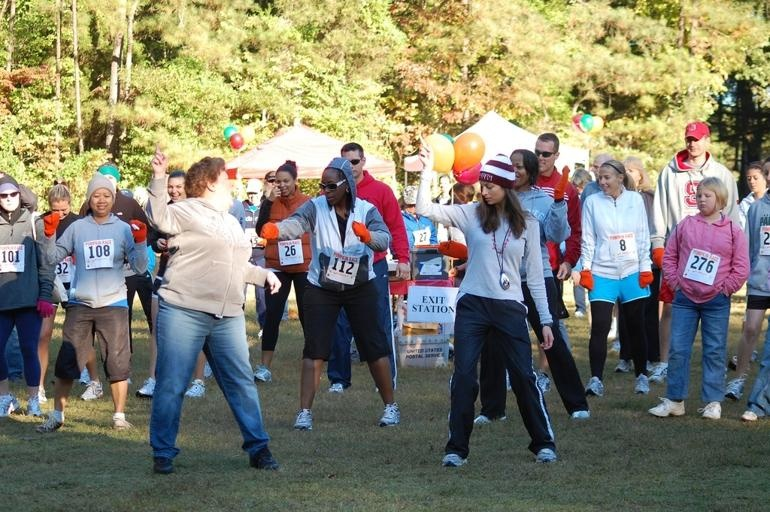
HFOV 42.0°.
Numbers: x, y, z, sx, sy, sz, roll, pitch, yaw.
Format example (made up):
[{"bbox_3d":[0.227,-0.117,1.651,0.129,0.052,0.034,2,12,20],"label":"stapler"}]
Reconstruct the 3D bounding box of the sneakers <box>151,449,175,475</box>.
[{"bbox_3d":[-2.366,2.290,11.094,0.131,0.145,0.326,2,-1,-5],"label":"sneakers"}]

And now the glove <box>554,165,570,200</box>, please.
[{"bbox_3d":[2.242,-0.896,12.342,0.134,0.140,0.475,14,-34,1],"label":"glove"}]

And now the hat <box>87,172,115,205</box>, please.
[{"bbox_3d":[-3.409,-0.848,12.490,0.287,0.320,0.353,-2,32,-16],"label":"hat"}]

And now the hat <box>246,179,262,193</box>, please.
[{"bbox_3d":[-2.243,-1.275,18.150,0.256,0.193,0.350,2,-1,2],"label":"hat"}]

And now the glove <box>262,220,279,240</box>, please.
[{"bbox_3d":[-1.231,-0.291,11.306,0.193,0.182,0.047,2,-9,-18],"label":"glove"}]

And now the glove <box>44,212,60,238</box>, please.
[{"bbox_3d":[-3.856,-0.395,12.144,0.237,0.309,0.101,-11,-11,42],"label":"glove"}]

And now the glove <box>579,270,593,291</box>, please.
[{"bbox_3d":[2.658,0.316,13.094,0.195,0.229,0.091,-22,9,-10],"label":"glove"}]

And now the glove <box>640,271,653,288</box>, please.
[{"bbox_3d":[3.475,0.303,13.283,0.166,0.210,0.189,-1,-10,-6],"label":"glove"}]

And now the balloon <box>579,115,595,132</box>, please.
[{"bbox_3d":[5.774,-3.739,28.459,0.398,0.456,0.393,-31,39,-25],"label":"balloon"}]
